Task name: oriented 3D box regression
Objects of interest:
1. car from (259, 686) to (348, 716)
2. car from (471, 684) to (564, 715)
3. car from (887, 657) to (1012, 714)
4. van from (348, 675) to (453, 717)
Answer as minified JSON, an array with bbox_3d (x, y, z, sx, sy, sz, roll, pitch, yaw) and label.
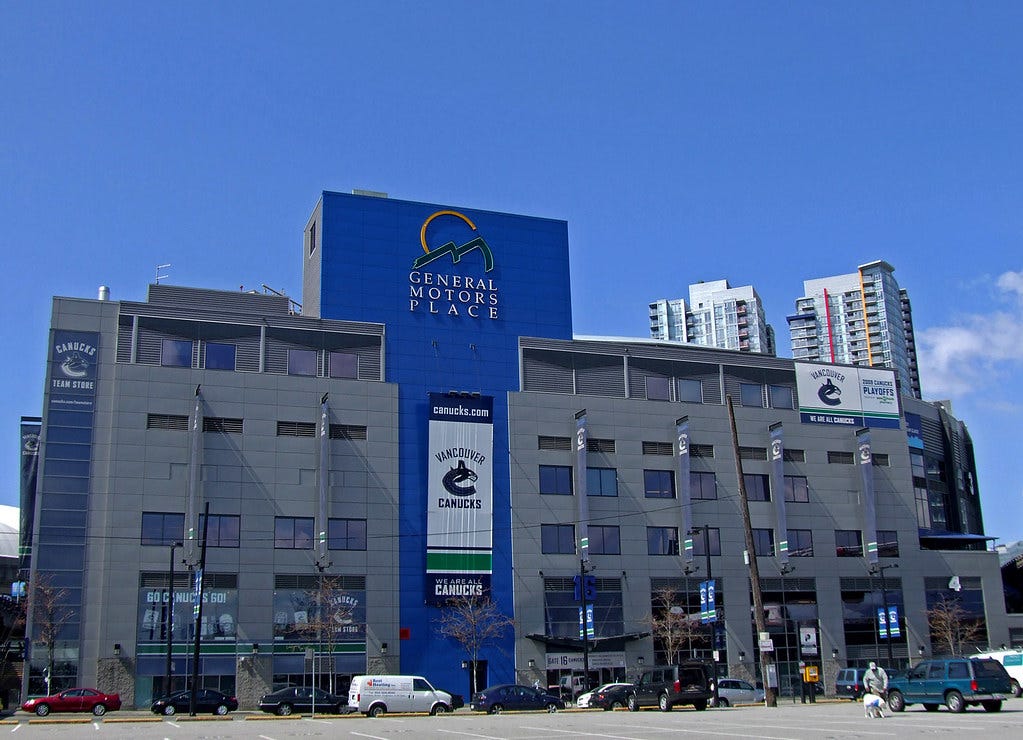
[{"bbox_3d":[-13.304,21.480,69.350,5.072,1.479,2.057,0,-11,-12],"label":"car"},{"bbox_3d":[0.187,21.388,70.141,4.805,1.445,2.200,1,-12,-15],"label":"car"},{"bbox_3d":[22.021,15.916,54.519,2.207,2.605,5.246,12,-22,-41],"label":"car"},{"bbox_3d":[-7.599,20.873,69.337,6.809,2.283,2.707,4,-11,-21],"label":"van"}]
